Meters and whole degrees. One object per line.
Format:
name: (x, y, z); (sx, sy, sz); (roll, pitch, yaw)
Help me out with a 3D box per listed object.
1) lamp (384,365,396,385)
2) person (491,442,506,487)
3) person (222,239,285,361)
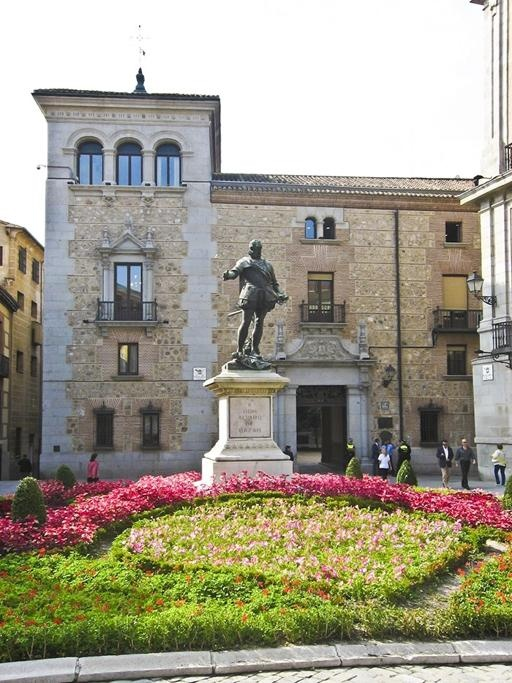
lamp: (4.016, 1.082, 31.721); (0.404, 0.685, 0.313); (3, 8, 3)
person: (5.989, 3.073, 25.827); (0.351, 0.873, 0.881); (4, 8, 13)
person: (-0.043, -0.801, 19.604); (1.061, 2.142, 1.437); (3, 7, -1)
